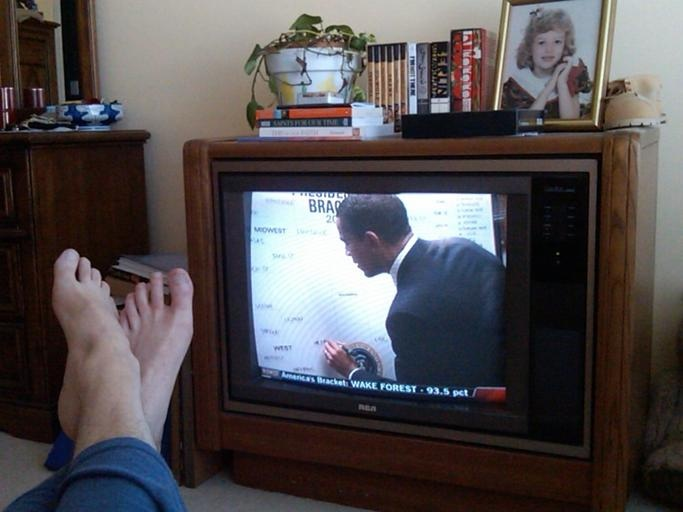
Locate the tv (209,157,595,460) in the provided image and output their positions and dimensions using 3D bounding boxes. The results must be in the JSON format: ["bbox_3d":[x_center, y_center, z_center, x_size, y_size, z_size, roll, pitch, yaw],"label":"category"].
[{"bbox_3d":[0.199,-0.082,1.656,1.083,0.829,0.626,5,19,19],"label":"tv"}]

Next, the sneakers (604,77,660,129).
[{"bbox_3d":[0.734,-0.386,1.629,0.106,0.123,0.153,-4,2,-11],"label":"sneakers"}]

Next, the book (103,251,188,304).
[{"bbox_3d":[-0.590,0.018,1.877,0.179,0.068,0.185,8,16,39],"label":"book"}]

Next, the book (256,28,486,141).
[{"bbox_3d":[0.074,-0.478,1.715,0.592,0.294,0.420,4,13,29],"label":"book"}]

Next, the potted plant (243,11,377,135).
[{"bbox_3d":[-0.087,-0.517,1.791,0.346,0.262,0.363,-3,9,-6],"label":"potted plant"}]
